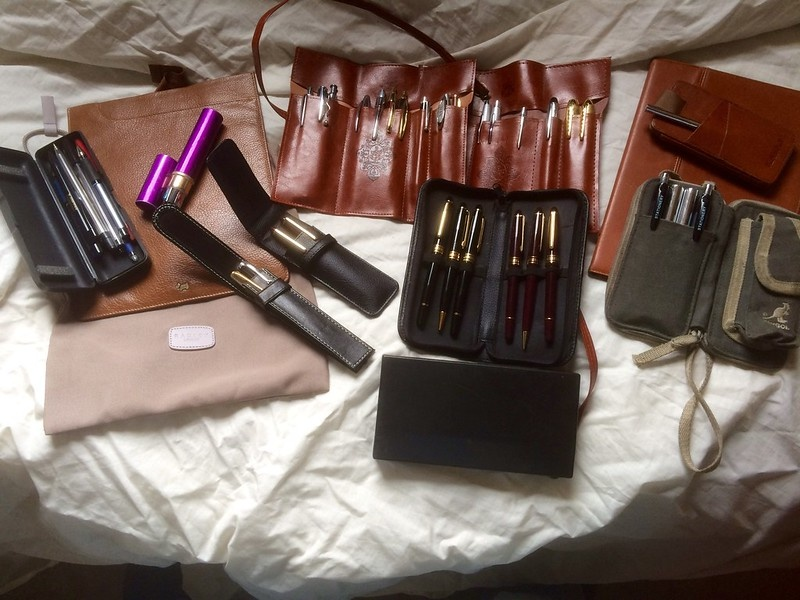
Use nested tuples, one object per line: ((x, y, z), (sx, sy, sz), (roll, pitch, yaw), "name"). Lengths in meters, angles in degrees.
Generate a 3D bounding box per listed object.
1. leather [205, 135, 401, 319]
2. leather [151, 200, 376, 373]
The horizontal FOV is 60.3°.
((-0.212, -0.139, 1.448), (0.397, 0.168, 0.115), (37, 72, 2), "leather")
((-0.289, -0.014, 1.401), (0.473, 0.048, 0.084), (38, 60, 0), "leather")
